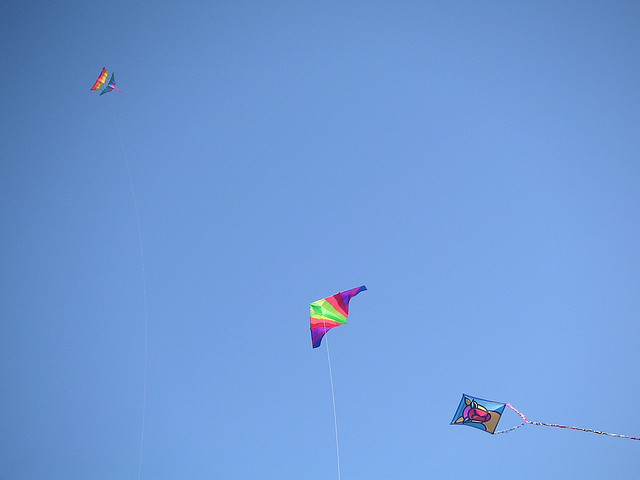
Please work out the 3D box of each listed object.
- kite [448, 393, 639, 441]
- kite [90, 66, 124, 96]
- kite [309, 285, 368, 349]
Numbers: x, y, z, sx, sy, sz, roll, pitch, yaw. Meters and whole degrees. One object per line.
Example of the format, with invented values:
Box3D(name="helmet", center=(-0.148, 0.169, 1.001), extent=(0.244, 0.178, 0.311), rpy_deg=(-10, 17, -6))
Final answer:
Box3D(name="kite", center=(0.983, 0.830, 3.975), extent=(0.775, 0.176, 0.204), rpy_deg=(9, -36, -2))
Box3D(name="kite", center=(-1.021, -0.738, 4.159), extent=(0.131, 0.171, 0.084), rpy_deg=(-29, -62, -1))
Box3D(name="kite", center=(0.065, 0.339, 3.895), extent=(0.220, 0.260, 0.341), rpy_deg=(8, -37, -3))
